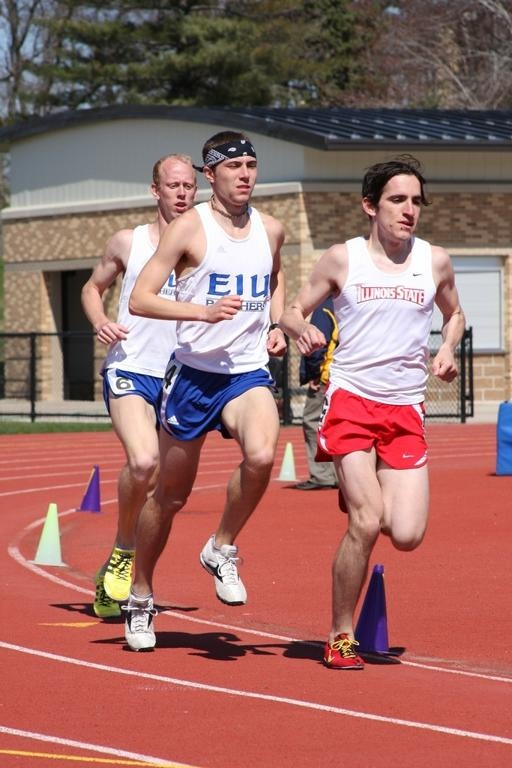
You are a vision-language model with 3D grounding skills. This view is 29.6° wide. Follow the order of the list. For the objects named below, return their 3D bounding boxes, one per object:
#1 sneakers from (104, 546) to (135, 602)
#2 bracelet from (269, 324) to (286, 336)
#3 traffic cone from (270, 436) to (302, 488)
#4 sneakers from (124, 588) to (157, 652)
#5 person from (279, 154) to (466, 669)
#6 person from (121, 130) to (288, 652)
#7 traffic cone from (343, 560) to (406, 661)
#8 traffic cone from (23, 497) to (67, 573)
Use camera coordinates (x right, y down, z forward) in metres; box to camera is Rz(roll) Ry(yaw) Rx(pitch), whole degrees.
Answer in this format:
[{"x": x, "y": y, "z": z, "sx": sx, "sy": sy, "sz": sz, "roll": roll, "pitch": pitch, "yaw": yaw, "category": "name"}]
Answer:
[{"x": -0.682, "y": 0.951, "z": 4.846, "sx": 0.127, "sy": 0.159, "sz": 0.363, "roll": 16, "pitch": 31, "yaw": -23, "category": "sneakers"}, {"x": 0.092, "y": -0.249, "z": 4.354, "sx": 0.051, "sy": 0.020, "sz": 0.052, "roll": 16, "pitch": -8, "yaw": 15, "category": "bracelet"}, {"x": 0.399, "y": 1.027, "z": 12.104, "sx": 0.454, "sy": 0.569, "sz": 0.435, "roll": 4, "pitch": -3, "yaw": 2, "category": "traffic cone"}, {"x": -0.500, "y": 1.023, "z": 4.218, "sx": 0.119, "sy": 0.121, "sz": 0.287, "roll": -1, "pitch": 19, "yaw": -8, "category": "sneakers"}, {"x": 0.482, "y": 0.114, "z": 4.003, "sx": 0.724, "sy": 2.092, "sz": 0.552, "roll": 0, "pitch": 1, "yaw": -2, "category": "person"}, {"x": -0.214, "y": -0.080, "z": 4.050, "sx": 0.665, "sy": 2.068, "sz": 0.657, "roll": 0, "pitch": 1, "yaw": 1, "category": "person"}, {"x": 0.522, "y": 0.993, "z": 4.261, "sx": 0.310, "sy": 0.357, "sz": 0.335, "roll": 11, "pitch": -4, "yaw": -7, "category": "traffic cone"}, {"x": -1.398, "y": 1.054, "z": 6.783, "sx": 0.375, "sy": 0.516, "sz": 0.369, "roll": 2, "pitch": 5, "yaw": -7, "category": "traffic cone"}]
